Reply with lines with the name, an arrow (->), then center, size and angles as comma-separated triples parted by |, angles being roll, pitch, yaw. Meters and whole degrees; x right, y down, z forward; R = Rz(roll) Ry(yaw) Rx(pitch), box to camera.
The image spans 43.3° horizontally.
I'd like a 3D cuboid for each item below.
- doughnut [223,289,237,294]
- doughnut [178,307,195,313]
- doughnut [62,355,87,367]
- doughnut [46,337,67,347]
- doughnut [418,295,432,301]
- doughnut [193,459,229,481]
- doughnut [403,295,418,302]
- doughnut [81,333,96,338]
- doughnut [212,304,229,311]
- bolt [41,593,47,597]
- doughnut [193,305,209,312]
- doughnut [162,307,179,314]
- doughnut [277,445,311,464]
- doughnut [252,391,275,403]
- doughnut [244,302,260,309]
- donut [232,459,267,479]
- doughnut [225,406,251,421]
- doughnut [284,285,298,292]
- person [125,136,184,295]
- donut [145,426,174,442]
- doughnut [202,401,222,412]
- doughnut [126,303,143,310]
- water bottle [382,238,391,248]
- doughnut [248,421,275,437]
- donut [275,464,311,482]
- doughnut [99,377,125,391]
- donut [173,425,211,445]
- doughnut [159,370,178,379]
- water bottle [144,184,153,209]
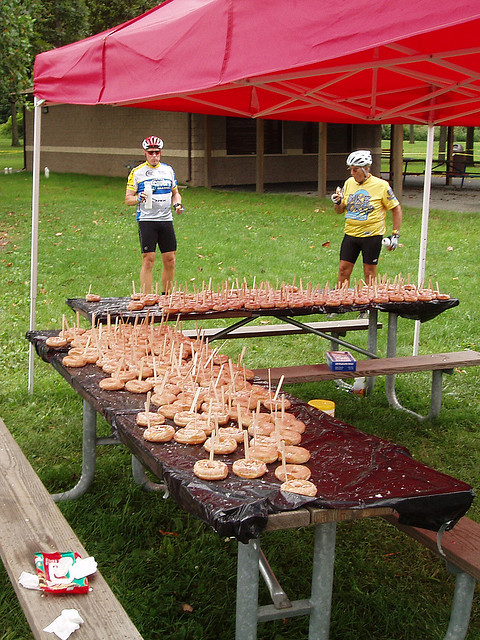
doughnut -> -0.076, -0.233, 4.760 | 0.110, 0.027, 0.169 | -2, 14, -2
doughnut -> -0.368, -0.068, 4.153 | 0.108, 0.038, 0.057 | -3, 14, -6
doughnut -> -0.841, 0.207, 3.099 | 0.120, 0.033, 0.171 | -3, 14, -6
doughnut -> -1.054, 0.121, 3.454 | 0.071, 0.019, 0.067 | 3, 10, 14
doughnut -> 1.433, -0.167, 4.687 | 0.106, 0.029, 0.063 | 1, 14, 7
doughnut -> -0.088, 0.464, 1.880 | 0.106, 0.040, 0.128 | -1, 14, 0
doughnut -> 1.311, -0.160, 4.617 | 0.126, 0.039, 0.083 | -6, 15, -19
doughnut -> -0.901, 0.089, 3.634 | 0.061, 0.014, 0.058 | 2, 3, 13
doughnut -> -0.130, -0.082, 4.191 | 0.109, 0.028, 0.056 | -2, 14, -2
bolt -> -0.603, 0.848, 1.864 | 0.017, 0.003, 0.021 | -4, 14, -11
doughnut -> -0.267, -0.076, 4.162 | 0.085, 0.045, 0.091 | 6, 16, 26
doughnut -> -0.470, -0.060, 4.144 | 0.109, 0.045, 0.057 | -3, 14, -8
doughnut -> 0.190, 0.448, 2.032 | 0.094, 0.035, 0.144 | 2, 14, 13
doughnut -> 0.097, 0.327, 2.553 | 0.096, 0.027, 0.090 | -2, 4, -21
doughnut -> 0.085, -0.094, 4.205 | 0.105, 0.028, 0.083 | -1, 14, 0
donut -> 0.029, 0.462, 1.892 | 0.104, 0.036, 0.097 | -1, 14, 2
doughnut -> -0.010, 0.359, 2.307 | 0.132, 0.035, 0.124 | 0, 5, -5
doughnut -> 0.403, -0.246, 4.770 | 0.121, 0.027, 0.107 | 0, 5, 1
person -> -0.973, -1.167, 6.999 | 0.619, 1.843, 1.044 | -3, 15, -5
donut -> -0.286, 0.405, 2.157 | 0.096, 0.030, 0.125 | 0, 14, 4
doughnut -> -0.109, 0.342, 2.372 | 0.102, 0.027, 0.096 | 1, 2, -11
doughnut -> -0.745, -0.095, 4.336 | 0.108, 0.035, 0.078 | -9, 16, -28
water bottle -> 1.364, -0.721, 5.621 | 0.068, 0.074, 0.243 | 2, 14, 11
doughnut -> 0.080, 0.396, 2.242 | 0.096, 0.035, 0.141 | -1, 14, 2
donut -> 0.166, 0.470, 1.872 | 0.114, 0.040, 0.104 | -1, 14, -2
doughnut -> -0.578, 0.292, 2.732 | 0.103, 0.040, 0.105 | 4, 15, 21
donut -> -0.170, 0.414, 2.173 | 0.106, 0.041, 0.146 | 2, 14, 12
doughnut -> -0.326, 0.250, 2.748 | 0.077, 0.018, 0.070 | 0, 7, -12
water bottle -> -1.022, -1.381, 6.756 | 0.090, 0.262, 0.115 | -3, 15, -6
